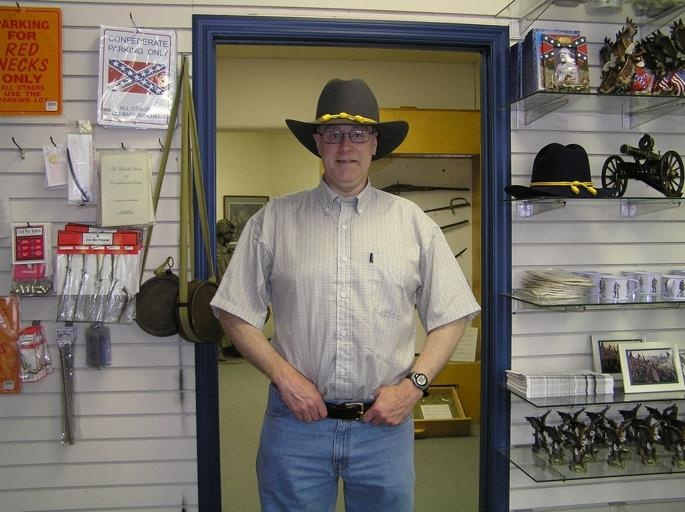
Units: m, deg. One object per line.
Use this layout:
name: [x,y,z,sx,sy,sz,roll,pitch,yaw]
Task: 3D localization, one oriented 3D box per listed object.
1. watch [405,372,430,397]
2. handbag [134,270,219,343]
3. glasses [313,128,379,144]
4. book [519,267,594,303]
watch: [0.336,0.564,2.622,0.097,0.095,0.063,0,0,-4]
handbag: [-0.907,0.275,3.203,0.438,0.398,0.241,0,0,17]
glasses: [0.020,-0.560,2.715,0.252,0.080,0.074,0,0,2]
book: [1.211,0.161,3.295,0.396,0.165,0.312,0,0,15]
